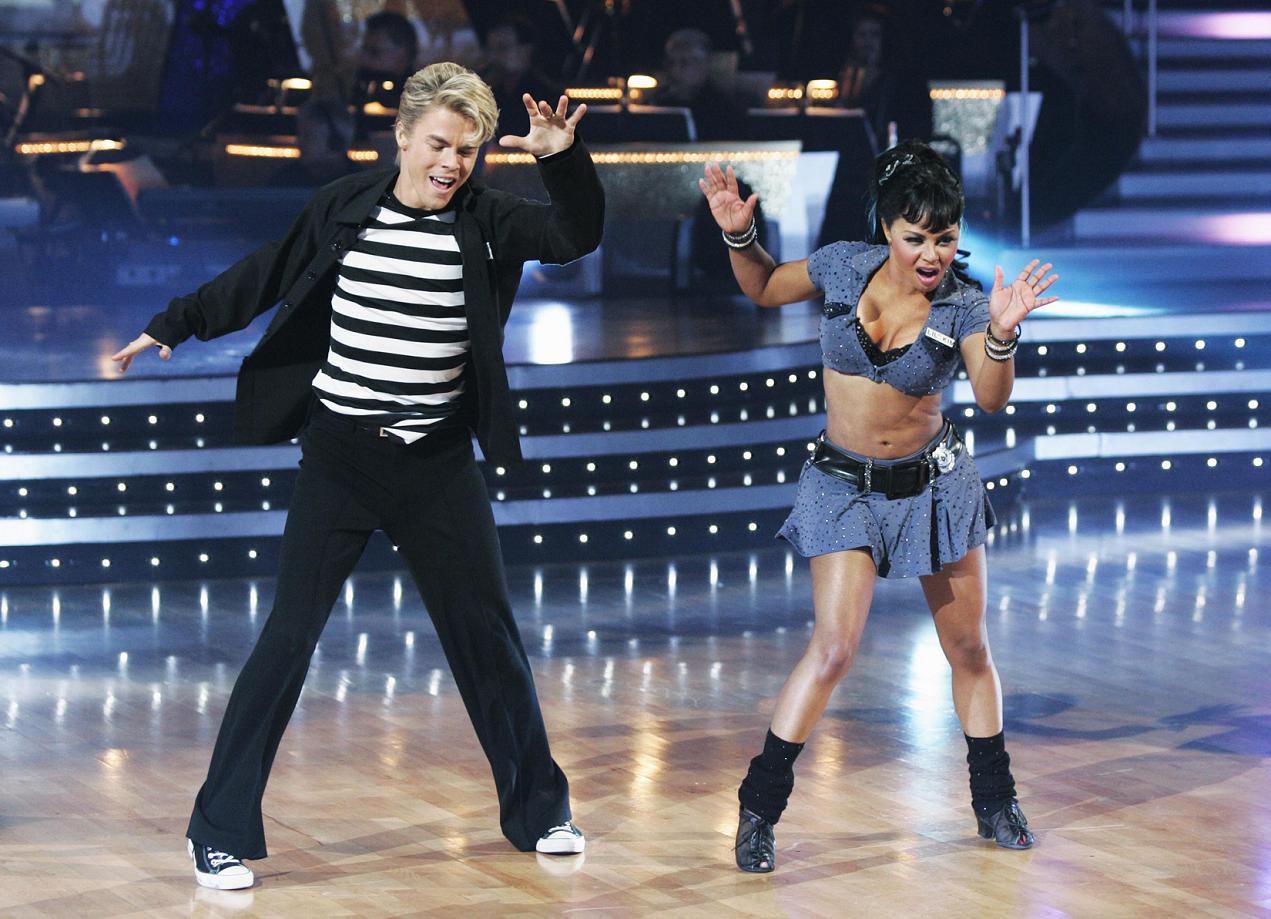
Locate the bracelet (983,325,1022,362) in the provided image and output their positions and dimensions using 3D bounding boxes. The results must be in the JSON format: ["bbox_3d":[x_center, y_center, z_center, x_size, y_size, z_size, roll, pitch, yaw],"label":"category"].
[{"bbox_3d":[0.960,-0.300,3.878,0.080,0.072,0.093,-1,49,2],"label":"bracelet"}]

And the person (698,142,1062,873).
[{"bbox_3d":[0.688,0.118,4.126,0.904,1.930,0.646,0,13,4],"label":"person"}]

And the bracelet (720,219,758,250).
[{"bbox_3d":[0.305,-0.617,4.286,0.112,0.083,0.125,-1,29,2],"label":"bracelet"}]

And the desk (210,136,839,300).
[{"bbox_3d":[-0.021,-1.721,11.643,3.596,1.617,1.098,-7,9,-30],"label":"desk"}]

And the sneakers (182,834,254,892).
[{"bbox_3d":[-1.128,1.090,4.031,0.087,0.086,0.238,0,0,-40],"label":"sneakers"}]

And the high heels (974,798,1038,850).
[{"bbox_3d":[1.037,1.025,4.174,0.079,0.096,0.225,-6,-1,-19],"label":"high heels"}]

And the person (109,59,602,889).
[{"bbox_3d":[-0.681,0.027,4.090,1.190,2.152,0.546,-3,13,-12],"label":"person"}]
